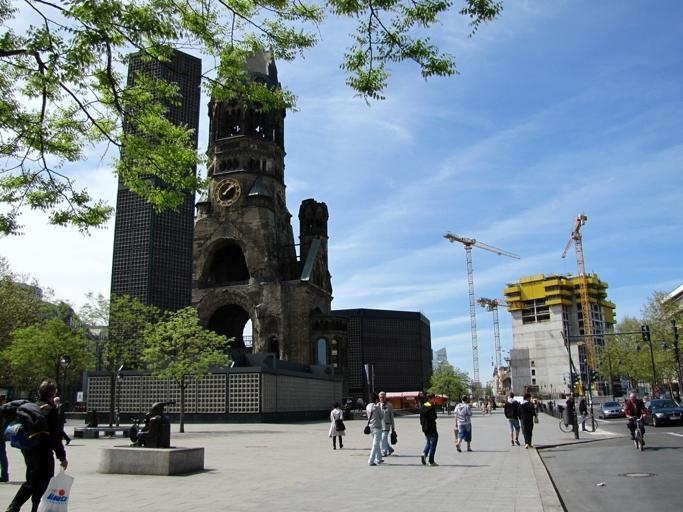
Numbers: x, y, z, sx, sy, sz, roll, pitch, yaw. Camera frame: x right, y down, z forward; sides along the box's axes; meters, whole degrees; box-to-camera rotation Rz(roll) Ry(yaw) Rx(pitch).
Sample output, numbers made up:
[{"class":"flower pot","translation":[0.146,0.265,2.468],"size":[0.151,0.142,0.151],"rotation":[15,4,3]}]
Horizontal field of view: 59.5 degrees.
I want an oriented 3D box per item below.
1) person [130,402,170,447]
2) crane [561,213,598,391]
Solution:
[{"class":"person","translation":[-4.897,4.375,15.593],"size":[1.003,1.141,0.589],"rotation":[-14,-19,39]},{"class":"crane","translation":[55.691,16.254,140.629],"size":[3.141,47.236,5.885],"rotation":[3,-3,28]}]
